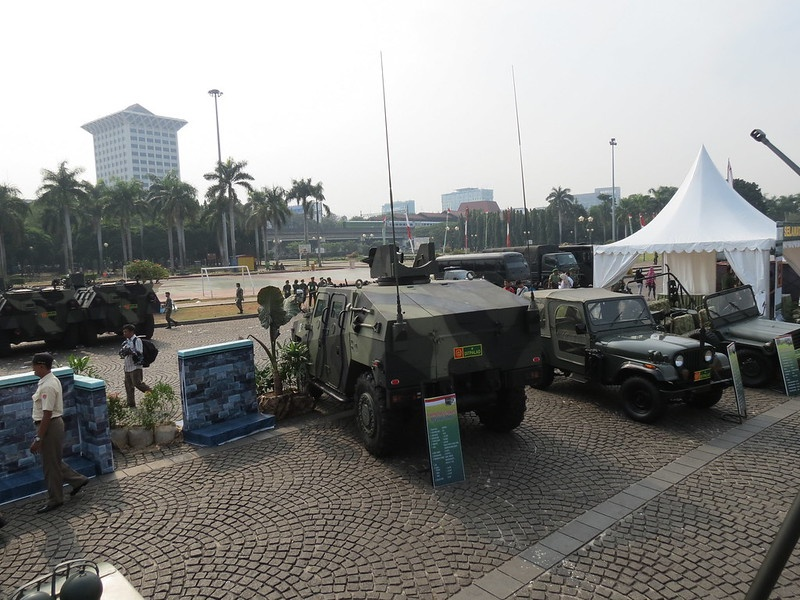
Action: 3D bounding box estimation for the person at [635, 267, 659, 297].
[{"bbox_3d":[10.755,-0.718,25.351,1.026,1.278,2.792,-4,-10,24],"label":"person"}]

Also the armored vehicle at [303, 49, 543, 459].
[{"bbox_3d":[-0.100,-0.789,11.669,3.092,6.765,5.894,-5,5,-24],"label":"armored vehicle"}]

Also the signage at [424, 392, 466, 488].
[{"bbox_3d":[0.678,2.071,8.635,0.565,1.210,0.455,-5,12,-18],"label":"signage"}]

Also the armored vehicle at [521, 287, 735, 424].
[{"bbox_3d":[4.483,0.910,11.621,2.164,2.132,3.958,-6,7,-33],"label":"armored vehicle"}]

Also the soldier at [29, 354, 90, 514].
[{"bbox_3d":[-4.899,1.859,8.247,0.557,2.132,0.657,-1,11,-1],"label":"soldier"}]

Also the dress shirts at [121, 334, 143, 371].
[{"bbox_3d":[-5.466,1.122,11.891,0.438,0.763,0.358,-7,13,-26],"label":"dress shirts"}]

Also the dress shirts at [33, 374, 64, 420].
[{"bbox_3d":[-5.030,1.383,8.324,0.372,0.634,0.653,1,-2,-32],"label":"dress shirts"}]

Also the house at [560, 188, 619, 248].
[{"bbox_3d":[40.099,-17.758,119.744,10.201,11.288,9.211,0,7,45],"label":"house"}]
